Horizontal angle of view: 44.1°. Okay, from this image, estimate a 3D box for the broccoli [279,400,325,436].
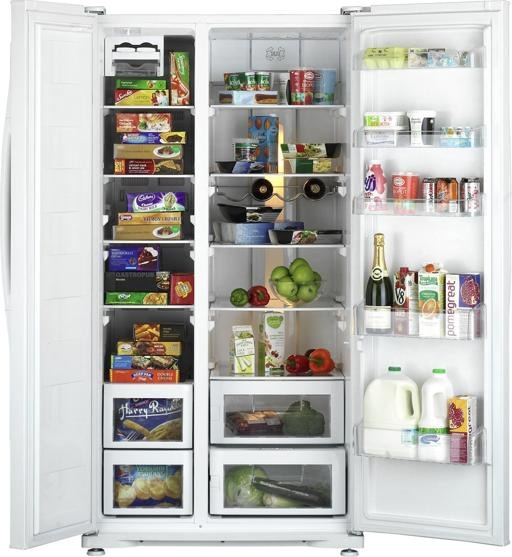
[{"bbox_3d":[0.191,0.546,2.550,0.151,0.127,0.149,0,-3,1],"label":"broccoli"}]

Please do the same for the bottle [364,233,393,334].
[{"bbox_3d":[0.439,0.015,2.320,0.122,0.365,0.114,0,2,0],"label":"bottle"}]

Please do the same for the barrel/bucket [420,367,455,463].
[{"bbox_3d":[0.624,0.477,2.218,0.111,0.307,0.107,-1,7,0],"label":"barrel/bucket"}]

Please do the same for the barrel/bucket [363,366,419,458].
[{"bbox_3d":[0.483,0.482,2.281,0.202,0.317,0.109,0,7,9],"label":"barrel/bucket"}]

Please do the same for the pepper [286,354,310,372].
[{"bbox_3d":[0.165,0.345,2.527,0.117,0.074,0.075,-3,-7,-40],"label":"pepper"}]

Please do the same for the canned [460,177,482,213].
[{"bbox_3d":[0.733,-0.280,2.161,0.061,0.122,0.056,-2,7,-9],"label":"canned"}]

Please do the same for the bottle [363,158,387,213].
[{"bbox_3d":[0.424,-0.334,2.266,0.083,0.178,0.094,0,7,10],"label":"bottle"}]

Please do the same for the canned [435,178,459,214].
[{"bbox_3d":[0.653,-0.285,2.171,0.078,0.117,0.068,1,7,14],"label":"canned"}]

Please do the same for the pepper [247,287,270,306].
[{"bbox_3d":[0.016,0.067,2.600,0.078,0.073,0.097,-7,13,-20],"label":"pepper"}]
